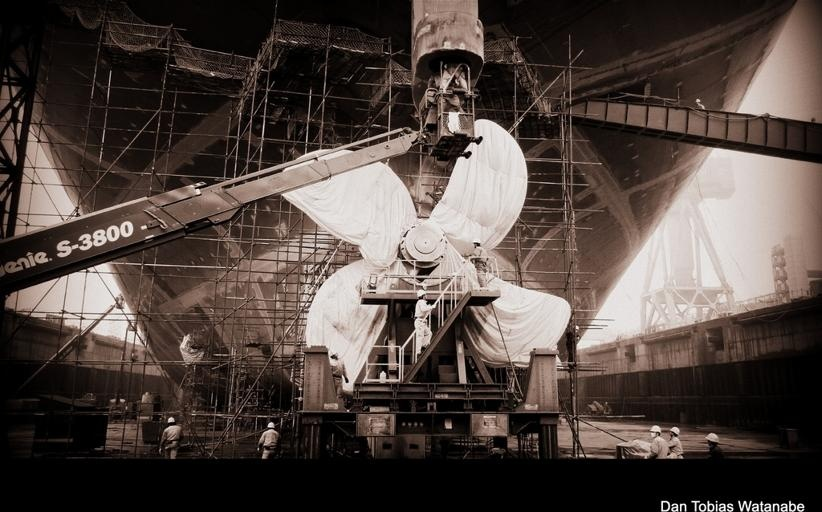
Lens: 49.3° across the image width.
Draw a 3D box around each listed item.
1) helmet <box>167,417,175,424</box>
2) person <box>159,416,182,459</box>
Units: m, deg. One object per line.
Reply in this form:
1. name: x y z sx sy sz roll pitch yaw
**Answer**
1. helmet: -10.206 7.015 38.178 0.414 0.274 0.592 1 -3 -9
2. person: -10.218 7.919 38.208 0.756 2.208 0.687 5 13 -8
